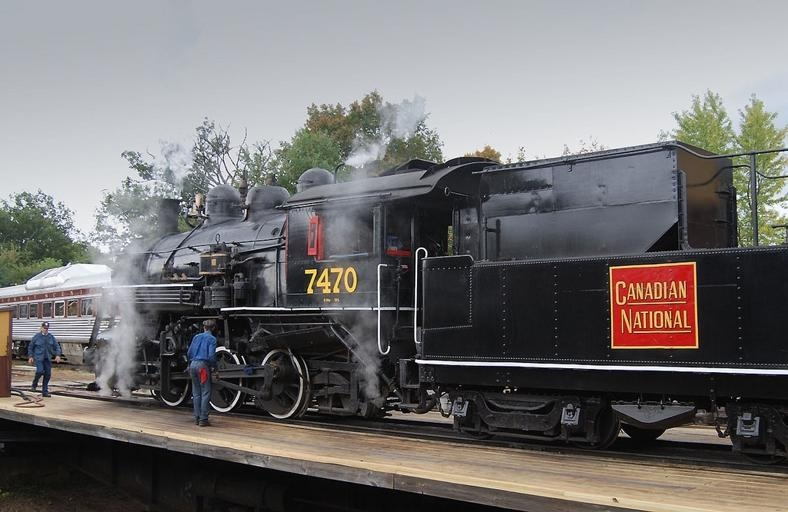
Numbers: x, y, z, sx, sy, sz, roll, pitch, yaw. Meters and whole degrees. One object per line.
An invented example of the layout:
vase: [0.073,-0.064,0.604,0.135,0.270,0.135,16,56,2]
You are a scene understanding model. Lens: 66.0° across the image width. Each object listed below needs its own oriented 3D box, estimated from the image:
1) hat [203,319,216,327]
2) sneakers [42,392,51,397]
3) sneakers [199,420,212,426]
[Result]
hat: [-3.692,1.353,12.173,0.184,0.129,0.241,2,0,-38]
sneakers: [-8.499,3.421,14.923,0.212,0.142,0.079,-3,-23,5]
sneakers: [-3.567,3.175,11.516,0.086,0.099,0.238,0,-3,33]
